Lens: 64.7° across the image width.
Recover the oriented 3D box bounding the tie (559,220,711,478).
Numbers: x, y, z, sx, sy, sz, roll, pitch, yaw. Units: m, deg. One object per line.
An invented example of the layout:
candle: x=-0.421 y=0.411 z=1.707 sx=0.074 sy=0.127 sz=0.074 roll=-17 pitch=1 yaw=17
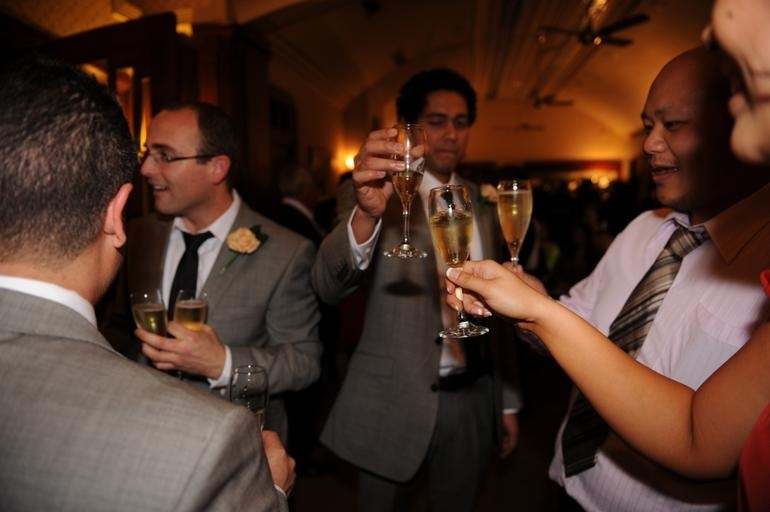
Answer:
tie: x=0.877 y=0.333 z=2.093 sx=0.114 sy=1.057 sz=0.222 roll=31 pitch=-4 yaw=-16

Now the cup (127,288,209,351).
cup: x=-0.906 y=0.245 z=2.559 sx=0.294 sy=0.189 sz=0.180 roll=0 pitch=2 yaw=-14

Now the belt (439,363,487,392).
belt: x=0.377 y=0.581 z=2.950 sx=0.169 sy=0.040 sz=0.119 roll=-11 pitch=-3 yaw=-31
